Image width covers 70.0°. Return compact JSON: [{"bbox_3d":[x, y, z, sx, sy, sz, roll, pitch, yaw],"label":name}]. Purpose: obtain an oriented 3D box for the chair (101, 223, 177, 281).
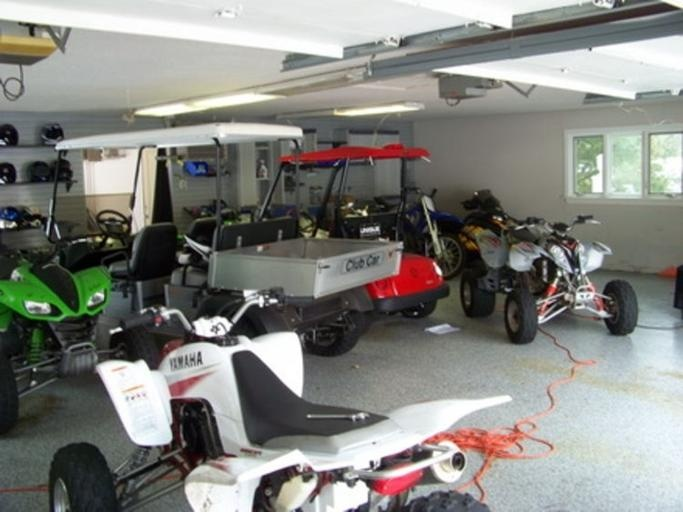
[{"bbox_3d":[-2.403,-0.020,5.908,0.829,0.646,0.619,1,4,24],"label":"chair"}]
